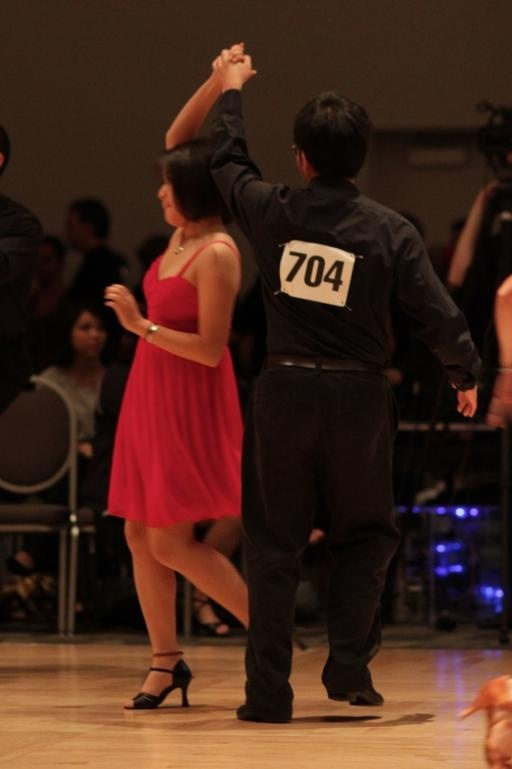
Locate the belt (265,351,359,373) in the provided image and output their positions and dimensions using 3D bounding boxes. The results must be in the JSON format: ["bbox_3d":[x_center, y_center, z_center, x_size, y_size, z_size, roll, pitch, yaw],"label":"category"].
[{"bbox_3d":[0.120,-0.041,1.793,0.182,0.028,0.039,1,-1,13],"label":"belt"}]

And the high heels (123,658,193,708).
[{"bbox_3d":[-0.211,0.674,2.057,0.162,0.097,0.056,-10,-8,20],"label":"high heels"}]

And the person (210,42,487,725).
[{"bbox_3d":[0.169,-0.031,1.861,0.578,1.196,0.274,2,-1,1],"label":"person"}]
